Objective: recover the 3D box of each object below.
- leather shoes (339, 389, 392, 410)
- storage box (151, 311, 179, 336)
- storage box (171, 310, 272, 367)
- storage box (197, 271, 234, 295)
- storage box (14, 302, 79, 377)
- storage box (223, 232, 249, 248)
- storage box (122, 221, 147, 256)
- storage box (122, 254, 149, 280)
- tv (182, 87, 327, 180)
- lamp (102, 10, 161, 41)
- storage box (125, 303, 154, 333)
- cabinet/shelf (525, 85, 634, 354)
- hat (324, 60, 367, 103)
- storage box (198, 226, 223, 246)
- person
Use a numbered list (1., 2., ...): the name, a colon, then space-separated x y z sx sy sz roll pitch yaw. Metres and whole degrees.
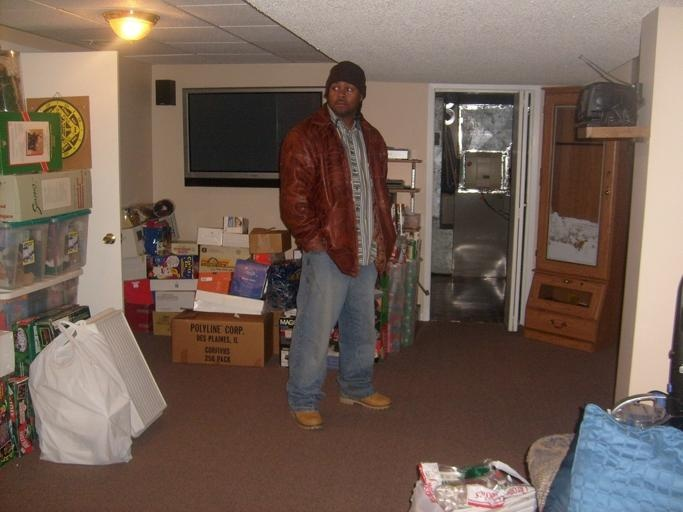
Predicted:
1. leather shoes: 0.172 0.990 3.769 0.340 0.134 0.134 0 1 10
2. storage box: -1.702 0.630 5.203 0.280 0.288 0.209 2 2 2
3. storage box: -1.015 0.713 4.430 0.791 0.414 0.384 0 5 6
4. storage box: -1.117 0.233 4.724 0.308 0.180 0.229 -3 46 2
5. storage box: -1.779 0.522 3.311 0.228 0.346 0.422 6 13 25
6. storage box: -0.995 -0.149 5.013 0.255 0.139 0.158 5 6 3
7. storage box: -1.984 -0.167 5.073 0.157 0.200 0.284 -4 14 7
8. storage box: -1.971 0.090 5.221 0.308 0.308 0.223 0 1 -13
9. tv: -0.790 -1.160 4.882 1.186 0.826 0.080 2 5 6
10. lamp: -1.488 -1.633 3.762 0.215 0.086 0.220 5 15 20
11. storage box: -1.968 0.600 5.334 0.271 0.271 0.272 4 18 1
12. cabinet/shelf: 2.226 -0.371 4.988 0.860 2.372 0.618 7 13 30
13. hat: 0.024 -1.111 3.283 0.199 0.163 0.201 -14 22 10
14. storage box: -1.243 -0.179 5.054 0.272 0.190 0.149 2 0 4
15. person: -0.012 0.039 3.456 0.751 2.103 0.460 -2 11 -15
